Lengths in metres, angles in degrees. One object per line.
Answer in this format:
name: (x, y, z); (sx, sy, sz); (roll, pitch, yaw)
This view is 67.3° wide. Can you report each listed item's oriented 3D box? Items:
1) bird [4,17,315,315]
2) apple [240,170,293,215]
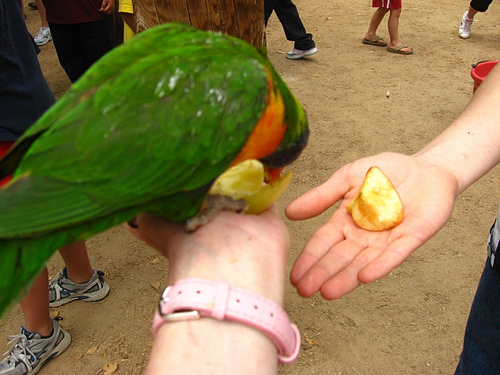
bird: (-0.212, -0.218, 1.332); (0.946, 1.081, 0.561); (8, 23, -23)
apple: (0.022, 0.013, 1.243); (0.275, 0.082, 0.103); (-10, 89, -3)
